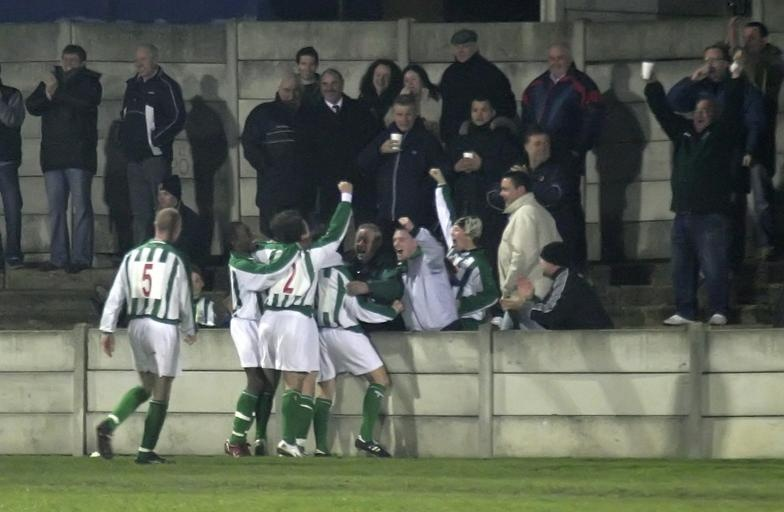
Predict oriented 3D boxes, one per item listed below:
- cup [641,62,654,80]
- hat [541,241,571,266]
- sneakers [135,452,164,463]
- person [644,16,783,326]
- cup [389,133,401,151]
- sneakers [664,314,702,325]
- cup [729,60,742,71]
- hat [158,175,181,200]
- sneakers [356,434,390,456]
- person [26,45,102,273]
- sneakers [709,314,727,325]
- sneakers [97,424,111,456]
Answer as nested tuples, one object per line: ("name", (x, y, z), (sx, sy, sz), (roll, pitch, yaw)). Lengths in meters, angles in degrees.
("cup", (3.599, -2.562, 33.894), (0.156, 0.263, 0.394), (-1, -1, 3))
("hat", (2.264, -0.009, 33.320), (0.396, 0.338, 0.160), (-1, -1, 3))
("sneakers", (-3.235, 2.705, 32.825), (0.440, 0.184, 0.152), (0, 3, -10))
("person", (4.470, -1.003, 34.274), (1.449, 3.969, 0.960), (-1, -1, 8))
("cup", (0.104, -1.582, 34.067), (0.163, 0.245, 0.351), (0, -1, 0))
("sneakers", (4.087, 0.911, 33.926), (0.434, 0.143, 0.173), (1, -5, 0))
("cup", (4.857, -2.610, 34.172), (0.146, 0.201, 0.212), (-1, -2, 16))
("hat", (-3.102, -0.996, 34.806), (0.249, 0.341, 0.342), (4, -39, 1))
("sneakers", (-0.218, 2.593, 32.940), (0.541, 0.213, 0.196), (25, 7, -17))
("person", (-4.627, -1.385, 35.035), (0.910, 3.240, 0.314), (0, -1, -7))
("sneakers", (4.558, 0.889, 33.756), (0.134, 0.094, 0.209), (2, 7, 21))
("sneakers", (-3.834, 2.480, 32.829), (0.195, 0.494, 0.299), (0, -1, -7))
